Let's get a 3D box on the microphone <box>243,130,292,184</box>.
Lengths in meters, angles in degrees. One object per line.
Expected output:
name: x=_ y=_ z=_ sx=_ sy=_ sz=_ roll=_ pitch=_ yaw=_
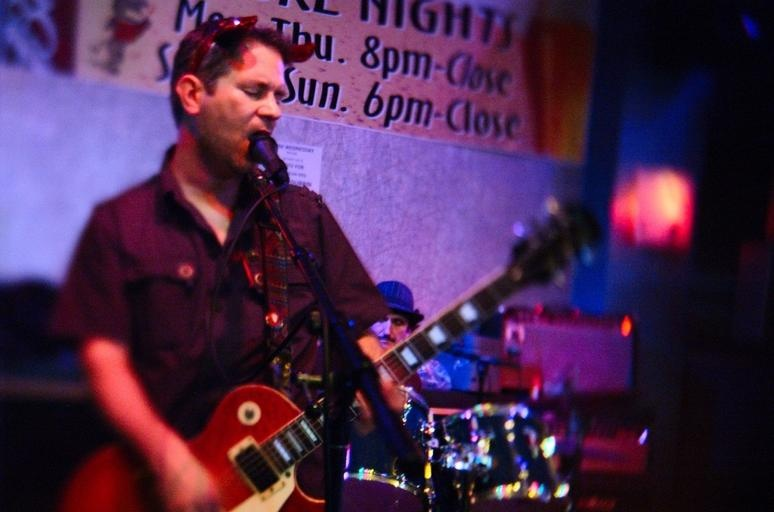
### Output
microphone: x=-0.511 y=-0.418 z=3.239 sx=0.144 sy=0.226 sz=0.315 roll=-1 pitch=8 yaw=-16

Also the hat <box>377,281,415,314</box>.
hat: x=0.059 y=0.212 z=4.093 sx=0.178 sy=0.074 sz=0.164 roll=28 pitch=-19 yaw=20
